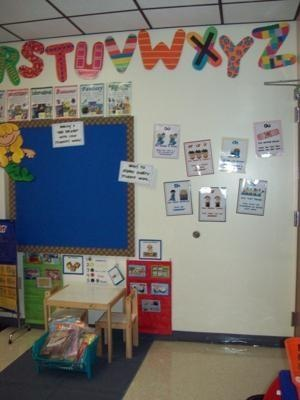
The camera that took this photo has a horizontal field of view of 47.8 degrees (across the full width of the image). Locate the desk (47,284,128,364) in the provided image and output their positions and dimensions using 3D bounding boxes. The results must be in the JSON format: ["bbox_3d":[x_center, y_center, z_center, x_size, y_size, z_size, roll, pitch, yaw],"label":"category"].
[{"bbox_3d":[-0.517,0.969,2.815,0.543,0.420,0.494,2,4,20],"label":"desk"}]
